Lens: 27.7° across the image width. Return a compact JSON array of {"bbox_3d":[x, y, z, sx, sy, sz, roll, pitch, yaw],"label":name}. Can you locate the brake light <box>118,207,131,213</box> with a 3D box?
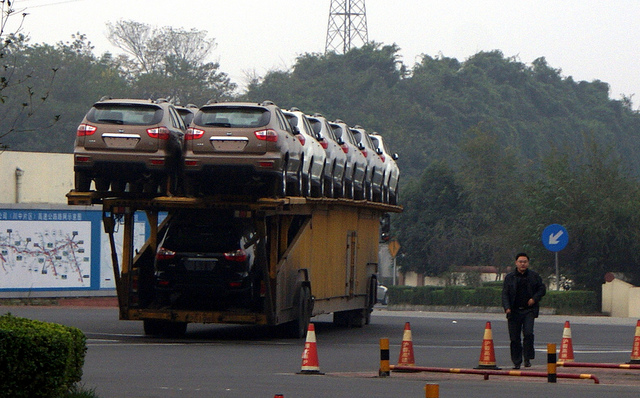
[{"bbox_3d":[-6.680,0.333,44.301,0.404,0.210,0.119,6,-5,-38],"label":"brake light"}]

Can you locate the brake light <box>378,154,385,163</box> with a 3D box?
[{"bbox_3d":[2.431,-1.671,51.814,0.253,0.340,0.105,5,-3,2],"label":"brake light"}]

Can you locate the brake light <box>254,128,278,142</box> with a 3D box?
[{"bbox_3d":[-1.777,-2.176,43.123,0.663,0.246,0.366,2,-1,14],"label":"brake light"}]

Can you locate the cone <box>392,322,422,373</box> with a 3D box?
[{"bbox_3d":[2.606,4.725,40.249,0.626,1.848,0.669,0,-4,13],"label":"cone"}]

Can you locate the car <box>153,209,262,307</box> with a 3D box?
[{"bbox_3d":[-3.830,1.821,44.233,3.174,3.039,0.935,2,-5,9],"label":"car"}]

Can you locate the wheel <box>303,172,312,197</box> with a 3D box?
[{"bbox_3d":[-0.461,-0.557,45.600,0.208,0.873,0.634,1,-5,24],"label":"wheel"}]

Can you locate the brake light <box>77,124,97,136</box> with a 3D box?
[{"bbox_3d":[-7.780,-2.348,43.240,0.576,0.259,0.342,2,1,-16],"label":"brake light"}]

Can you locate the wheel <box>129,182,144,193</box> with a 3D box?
[{"bbox_3d":[-6.487,-0.452,45.705,0.426,0.394,0.410,2,-4,0],"label":"wheel"}]

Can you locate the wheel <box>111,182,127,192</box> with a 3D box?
[{"bbox_3d":[-7.035,-0.477,45.293,0.373,0.344,0.361,2,-4,0],"label":"wheel"}]

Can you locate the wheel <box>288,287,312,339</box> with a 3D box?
[{"bbox_3d":[-0.765,3.964,45.257,0.625,1.870,1.910,2,-1,9],"label":"wheel"}]

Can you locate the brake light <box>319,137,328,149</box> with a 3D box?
[{"bbox_3d":[0.091,-2.051,46.803,0.336,0.446,0.172,0,-4,0],"label":"brake light"}]

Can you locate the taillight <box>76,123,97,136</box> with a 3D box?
[{"bbox_3d":[-7.784,-2.351,43.134,0.587,0.265,0.358,-1,-1,28],"label":"taillight"}]

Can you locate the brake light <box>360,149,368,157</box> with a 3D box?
[{"bbox_3d":[1.690,-1.842,50.234,0.250,0.222,0.247,3,6,10],"label":"brake light"}]

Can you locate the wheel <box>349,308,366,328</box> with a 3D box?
[{"bbox_3d":[1.471,4.666,51.185,0.451,0.800,0.617,2,-29,19],"label":"wheel"}]

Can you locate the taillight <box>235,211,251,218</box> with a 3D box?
[{"bbox_3d":[-2.590,0.482,43.675,0.272,0.193,0.293,0,0,11],"label":"taillight"}]

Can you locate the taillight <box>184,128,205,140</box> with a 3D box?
[{"bbox_3d":[-4.176,-2.207,43.160,0.530,0.369,0.135,-1,-41,-6],"label":"taillight"}]

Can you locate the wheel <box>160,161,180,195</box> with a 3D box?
[{"bbox_3d":[-5.007,-0.724,43.621,0.275,1.027,0.743,14,-9,-32],"label":"wheel"}]

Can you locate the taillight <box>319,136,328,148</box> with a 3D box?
[{"bbox_3d":[0.111,-2.055,46.874,0.239,0.271,0.318,5,9,9],"label":"taillight"}]

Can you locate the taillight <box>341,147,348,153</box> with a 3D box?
[{"bbox_3d":[0.889,-1.877,48.453,0.240,0.170,0.235,1,-3,0],"label":"taillight"}]

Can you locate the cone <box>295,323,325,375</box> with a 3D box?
[{"bbox_3d":[-0.309,4.583,39.617,1.061,1.407,1.011,-1,-1,-1],"label":"cone"}]

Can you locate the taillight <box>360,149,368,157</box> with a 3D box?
[{"bbox_3d":[1.700,-1.825,50.265,0.264,0.231,0.261,1,-2,13],"label":"taillight"}]

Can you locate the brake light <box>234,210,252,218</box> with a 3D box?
[{"bbox_3d":[-2.605,0.451,43.687,0.525,0.224,0.133,2,-4,9],"label":"brake light"}]

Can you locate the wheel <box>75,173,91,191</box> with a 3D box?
[{"bbox_3d":[-8.016,-0.633,43.776,0.569,0.579,0.557,1,-2,0],"label":"wheel"}]

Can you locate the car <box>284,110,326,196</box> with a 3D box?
[{"bbox_3d":[-0.590,-1.527,45.341,1.266,3.088,3.374,1,0,-6],"label":"car"}]
